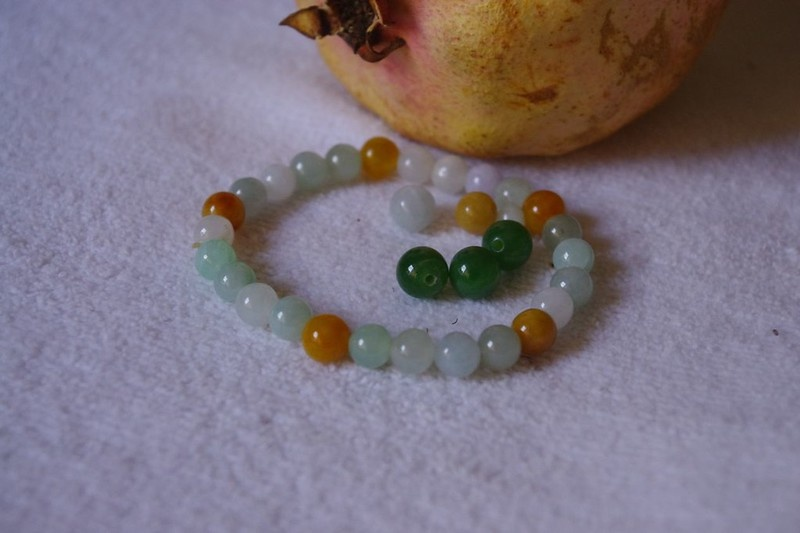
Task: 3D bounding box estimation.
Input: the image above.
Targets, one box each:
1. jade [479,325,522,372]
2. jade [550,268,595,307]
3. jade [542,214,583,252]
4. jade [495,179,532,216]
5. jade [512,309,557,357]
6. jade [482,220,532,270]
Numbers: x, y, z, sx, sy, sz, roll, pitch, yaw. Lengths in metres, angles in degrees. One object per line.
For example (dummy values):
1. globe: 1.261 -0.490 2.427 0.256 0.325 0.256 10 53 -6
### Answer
1. jade: 0.118 0.097 1.138 0.043 0.048 0.063 -1 86 6
2. jade: 0.215 0.021 1.183 0.043 0.046 0.053 0 89 10
3. jade: 0.206 -0.047 1.235 0.040 0.044 0.054 20 58 -13
4. jade: 0.150 -0.100 1.286 0.039 0.042 0.056 17 68 -31
5. jade: 0.159 0.076 1.149 0.045 0.051 0.066 -2 92 6
6. jade: 0.136 -0.032 1.216 0.052 0.058 0.075 0 94 11
